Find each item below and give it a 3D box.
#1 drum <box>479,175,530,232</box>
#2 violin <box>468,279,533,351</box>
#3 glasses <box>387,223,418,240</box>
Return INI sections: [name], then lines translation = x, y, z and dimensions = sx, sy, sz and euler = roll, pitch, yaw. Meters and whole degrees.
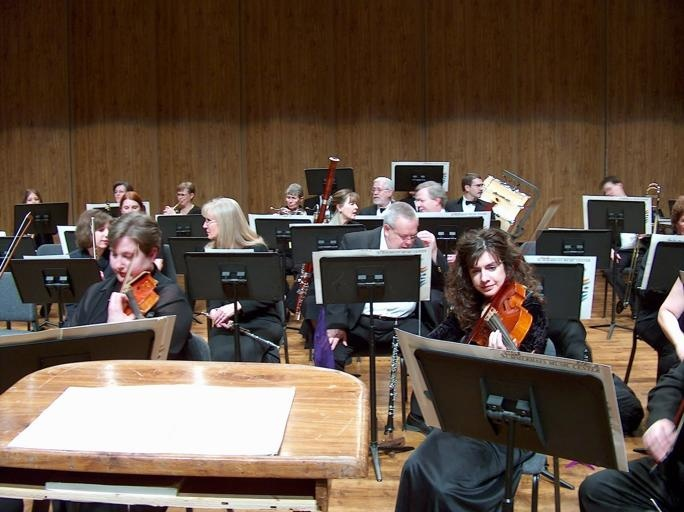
[drum]
translation = 1.577, -0.543, 6.084
dimensions = 0.439, 0.529, 0.377
euler = 2, 11, -2
[violin]
translation = 0.725, 0.253, 2.744
dimensions = 0.187, 0.113, 0.354
euler = -41, 3, 15
[glasses]
translation = 0.390, -0.154, 4.017
dimensions = 0.180, 0.111, 0.102
euler = -2, 10, -2
